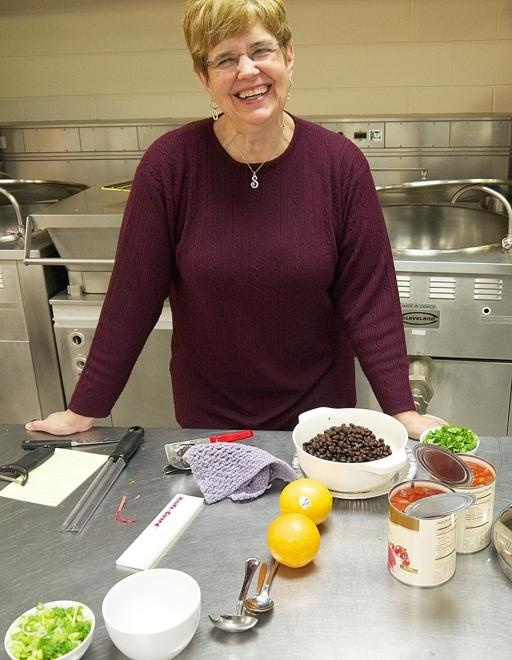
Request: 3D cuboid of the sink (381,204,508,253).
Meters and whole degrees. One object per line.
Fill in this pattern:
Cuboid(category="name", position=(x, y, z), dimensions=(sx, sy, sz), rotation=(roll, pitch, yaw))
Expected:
Cuboid(category="sink", position=(0.766, -0.427, 2.035), dimensions=(0.366, 0.106, 0.329), rotation=(-1, 31, 0))

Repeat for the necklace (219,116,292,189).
Cuboid(category="necklace", position=(-0.003, -0.348, 1.068), dimensions=(0.110, 0.122, 0.131), rotation=(-3, -4, 1))

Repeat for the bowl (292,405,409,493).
Cuboid(category="bowl", position=(0.150, 0.181, 0.801), dimensions=(0.155, 0.056, 0.170), rotation=(-2, 26, 1))

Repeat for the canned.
Cuboid(category="canned", position=(0.212, 0.208, 0.653), dimensions=(0.094, 0.104, 0.173), rotation=(18, 34, 33))

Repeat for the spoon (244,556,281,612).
Cuboid(category="spoon", position=(0.007, 0.291, 0.599), dimensions=(0.021, 0.011, 0.084), rotation=(4, 14, 7))

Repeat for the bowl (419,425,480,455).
Cuboid(category="bowl", position=(0.298, 0.155, 0.788), dimensions=(0.069, 0.025, 0.063), rotation=(-5, 23, 1))

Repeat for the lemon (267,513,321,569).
Cuboid(category="lemon", position=(0.043, 0.254, 0.633), dimensions=(0.056, 0.050, 0.050), rotation=(5, 14, 34))
